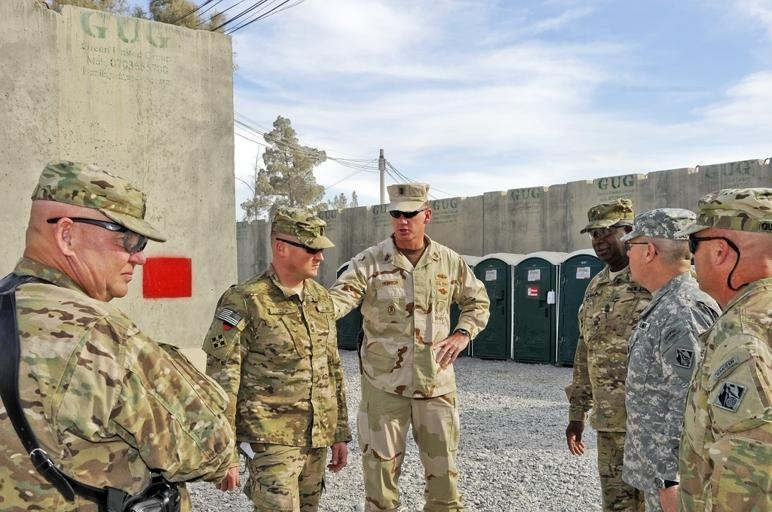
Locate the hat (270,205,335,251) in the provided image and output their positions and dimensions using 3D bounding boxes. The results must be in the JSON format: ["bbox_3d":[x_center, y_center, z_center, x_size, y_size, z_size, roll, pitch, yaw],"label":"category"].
[{"bbox_3d":[-0.571,-0.205,6.936,0.497,0.228,0.349,13,13,14],"label":"hat"}]

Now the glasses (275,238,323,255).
[{"bbox_3d":[-0.601,-0.070,6.822,0.187,0.050,0.154,19,2,-14],"label":"glasses"}]

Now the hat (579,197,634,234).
[{"bbox_3d":[1.794,-0.337,7.668,0.369,0.185,0.280,-4,-9,-25],"label":"hat"}]

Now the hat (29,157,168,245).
[{"bbox_3d":[-1.595,-0.293,5.383,0.619,0.269,0.429,16,-1,-17],"label":"hat"}]

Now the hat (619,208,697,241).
[{"bbox_3d":[1.818,-0.210,6.410,0.357,0.124,0.241,-4,4,18],"label":"hat"}]
